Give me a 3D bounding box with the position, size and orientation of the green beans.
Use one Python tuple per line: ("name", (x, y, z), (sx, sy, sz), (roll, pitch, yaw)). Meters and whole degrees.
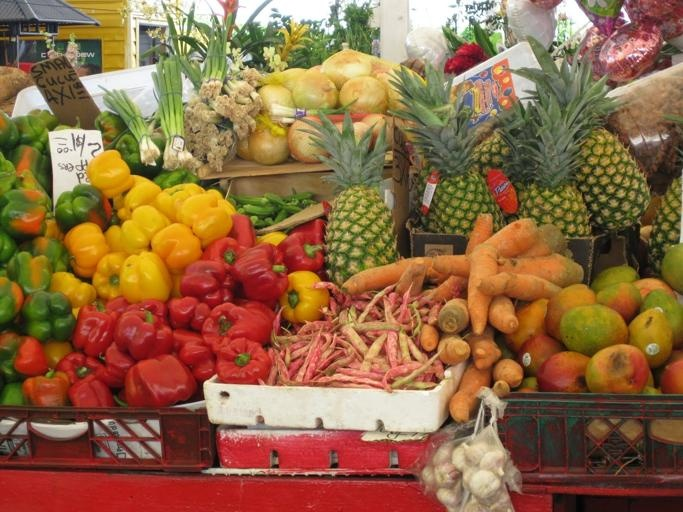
("green beans", (0.077, 0.430, 3.320), (0.928, 0.340, 0.813), (0, 17, 9))
